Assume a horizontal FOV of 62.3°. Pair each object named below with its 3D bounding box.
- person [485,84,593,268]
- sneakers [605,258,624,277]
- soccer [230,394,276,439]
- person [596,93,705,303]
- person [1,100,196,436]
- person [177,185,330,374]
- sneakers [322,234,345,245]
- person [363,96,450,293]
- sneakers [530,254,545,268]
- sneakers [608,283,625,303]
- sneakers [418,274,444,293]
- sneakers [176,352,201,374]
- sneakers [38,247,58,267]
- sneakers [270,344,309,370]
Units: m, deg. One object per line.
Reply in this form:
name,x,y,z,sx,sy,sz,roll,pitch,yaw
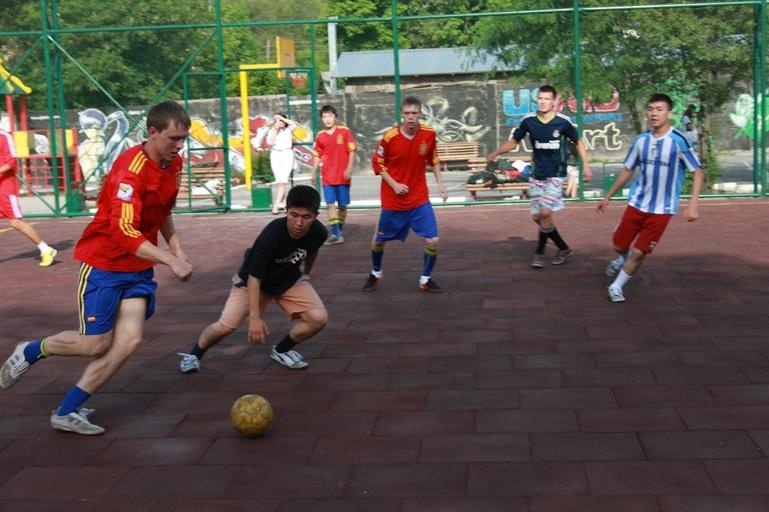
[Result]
person,2.120,-1.052,8.399,1.107,2.342,0.849,1,17,14
sneakers,2.807,0.138,7.806,0.152,0.111,0.301,21,-24,-7
soccer,-0.896,1.087,4.348,0.326,0.185,0.294,-9,-19,20
person,2.872,-0.661,6.964,1.025,2.187,1.125,2,16,15
person,-1.970,0.074,4.530,1.410,2.282,0.804,-6,17,-13
person,-0.967,0.215,5.160,1.018,1.631,0.850,-9,17,-22
sneakers,-0.806,-0.277,10.664,0.432,0.148,0.147,0,9,-2
person,0.195,-0.749,7.663,0.934,2.269,0.867,-2,16,3
sneakers,2.026,0.070,8.477,0.220,0.197,0.545,0,-2,16
sneakers,2.481,0.414,6.844,0.125,0.097,0.250,-2,3,4
sneakers,0.549,0.317,7.590,0.265,0.187,0.194,0,15,7
sneakers,-1.712,0.914,5.489,0.331,0.113,0.123,5,1,0
sneakers,-5.068,0.019,9.664,0.111,0.289,0.141,31,1,40
sneakers,-0.807,0.895,5.568,0.414,0.132,0.136,11,31,20
